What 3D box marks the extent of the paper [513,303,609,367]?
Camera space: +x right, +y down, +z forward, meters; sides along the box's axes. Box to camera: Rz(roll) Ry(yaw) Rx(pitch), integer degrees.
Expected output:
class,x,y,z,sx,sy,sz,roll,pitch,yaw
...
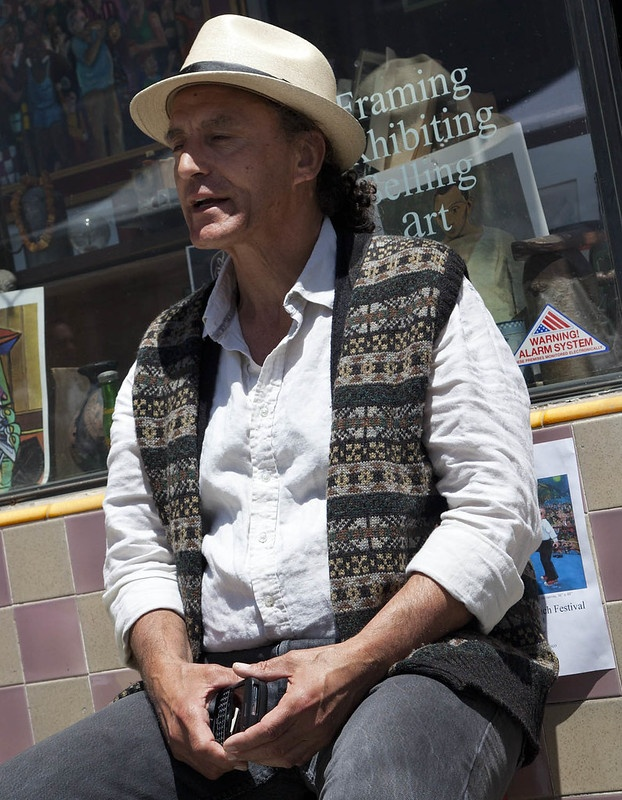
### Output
class,x,y,z,sx,sy,sz,roll,pitch,yaw
paper,0.611,-0.171,2.236,0.304,0.146,0.003,-11,-1,-20

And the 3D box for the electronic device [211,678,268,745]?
class,x,y,z,sx,sy,sz,roll,pitch,yaw
electronic device,-0.101,0.514,1.527,0.119,0.028,0.106,-31,34,37
